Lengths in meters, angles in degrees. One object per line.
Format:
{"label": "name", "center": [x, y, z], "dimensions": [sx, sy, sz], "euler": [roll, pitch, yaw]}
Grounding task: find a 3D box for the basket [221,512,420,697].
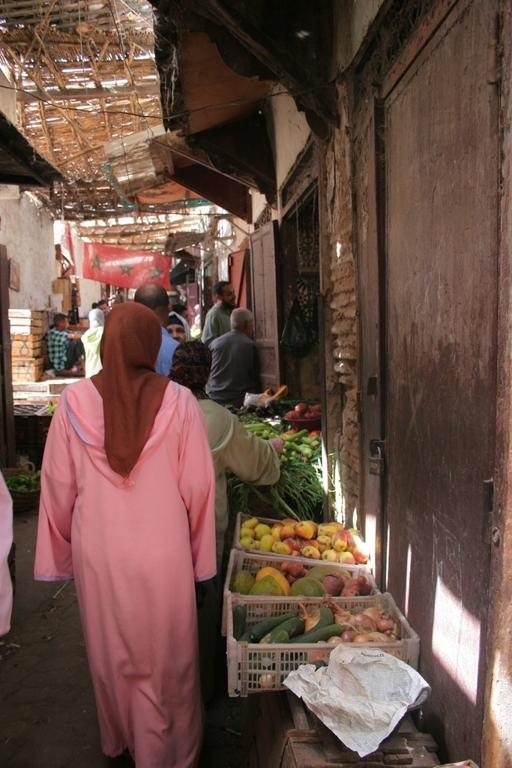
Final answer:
{"label": "basket", "center": [0.183, 0.850, 1.980], "dimensions": [0.608, 0.238, 0.861], "euler": [0, 1, -1]}
